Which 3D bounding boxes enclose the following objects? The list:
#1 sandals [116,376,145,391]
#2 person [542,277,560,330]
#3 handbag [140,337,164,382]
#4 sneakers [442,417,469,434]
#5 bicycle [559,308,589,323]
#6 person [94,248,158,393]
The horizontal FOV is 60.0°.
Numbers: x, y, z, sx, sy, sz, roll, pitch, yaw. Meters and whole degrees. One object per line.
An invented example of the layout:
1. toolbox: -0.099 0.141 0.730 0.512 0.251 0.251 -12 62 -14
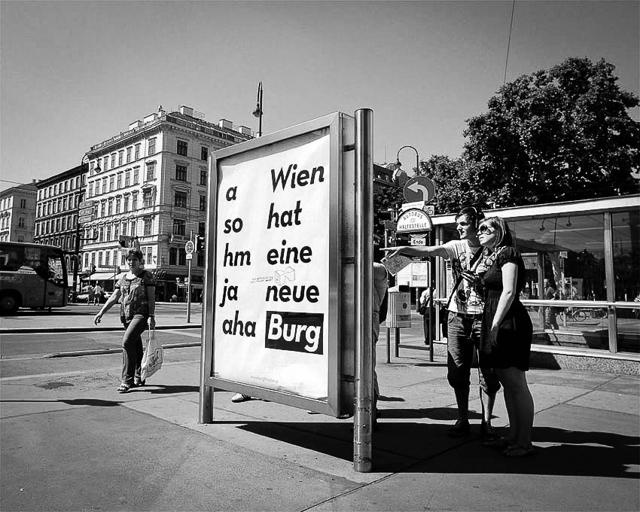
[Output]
1. sandals: -2.646 1.821 7.770 0.142 0.199 0.455 -10 -20 22
2. person: 4.771 1.014 11.391 0.287 0.775 0.961 1 0 23
3. handbag: -2.395 1.441 7.907 0.294 0.707 0.278 0 0 -23
4. sneakers: 1.481 1.846 5.953 0.265 0.149 0.122 15 -21 -42
5. bicycle: 4.834 1.134 10.523 0.440 0.335 0.240 -2 -7 14
6. person: -2.672 0.888 7.982 0.535 1.992 0.851 0 0 -21
